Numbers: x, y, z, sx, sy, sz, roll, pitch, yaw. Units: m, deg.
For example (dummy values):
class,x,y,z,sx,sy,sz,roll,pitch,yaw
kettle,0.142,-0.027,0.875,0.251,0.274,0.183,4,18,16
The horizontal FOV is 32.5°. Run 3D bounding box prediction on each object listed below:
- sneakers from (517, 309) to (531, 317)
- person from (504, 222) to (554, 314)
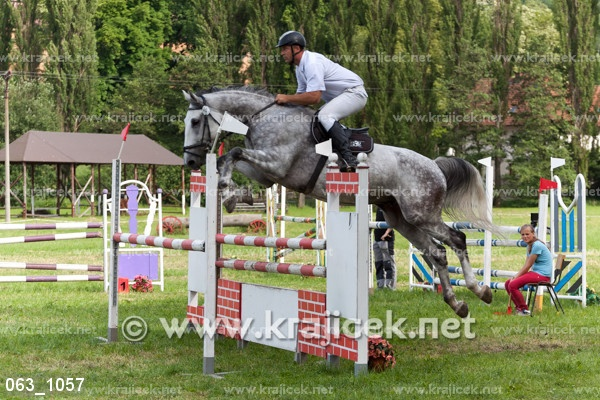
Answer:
class,x,y,z,sx,sy,sz,roll,pitch,yaw
sneakers,7.061,3.570,32.578,0.446,0.200,0.179,2,-19,6
person,7.245,2.206,32.548,1.411,2.657,0.464,-1,0,12
